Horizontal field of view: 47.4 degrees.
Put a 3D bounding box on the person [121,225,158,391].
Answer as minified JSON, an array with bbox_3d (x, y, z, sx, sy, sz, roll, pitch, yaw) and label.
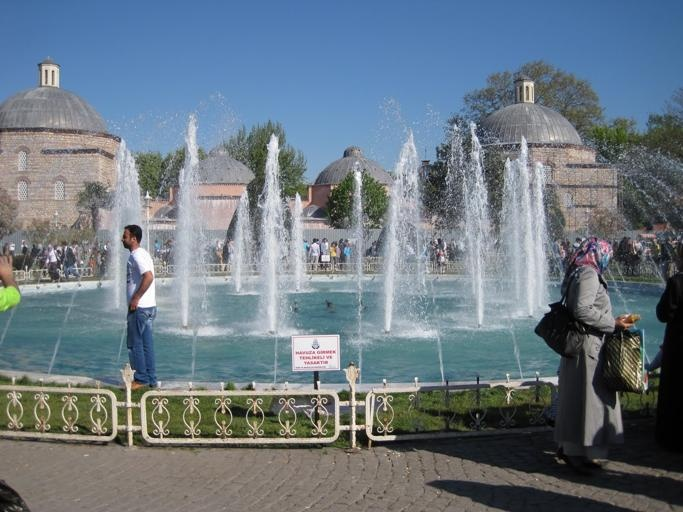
[{"bbox_3d":[-2.307,0.564,8.854,0.353,1.828,0.695,0,5,-15],"label":"person"}]

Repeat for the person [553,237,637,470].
[{"bbox_3d":[2.263,0.865,7.024,0.611,2.047,0.487,2,5,15],"label":"person"}]

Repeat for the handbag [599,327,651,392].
[{"bbox_3d":[2.503,0.923,6.926,0.390,0.542,0.278,1,5,6],"label":"handbag"}]
